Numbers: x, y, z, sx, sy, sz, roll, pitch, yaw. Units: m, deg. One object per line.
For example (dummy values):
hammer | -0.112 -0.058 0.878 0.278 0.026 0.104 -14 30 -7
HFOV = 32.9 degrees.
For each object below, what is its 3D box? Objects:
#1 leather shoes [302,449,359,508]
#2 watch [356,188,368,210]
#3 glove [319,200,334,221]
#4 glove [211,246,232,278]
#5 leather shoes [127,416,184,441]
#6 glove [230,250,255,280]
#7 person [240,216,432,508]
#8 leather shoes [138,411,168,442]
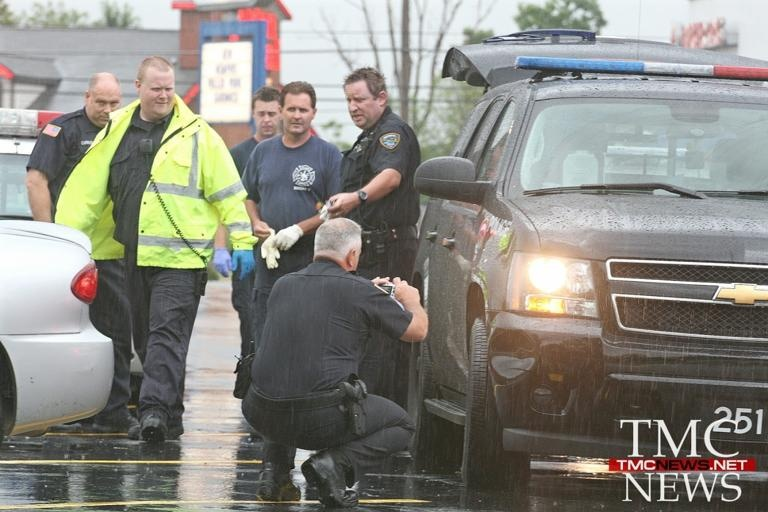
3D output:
leather shoes | -0.334 1.384 8.089 0.190 0.223 0.546 -3 -3 26
watch | -0.161 -0.440 9.929 0.074 0.112 0.110 -4 -2 -25
glove | -0.418 -0.328 9.869 0.036 0.138 0.141 3 -34 -34
glove | -1.262 0.045 10.181 0.078 0.164 0.221 -12 48 -4
leather shoes | -1.710 1.252 9.540 0.176 0.213 0.487 2 1 -41
glove | -1.081 0.046 10.022 0.189 0.236 0.088 14 38 9
person | -0.334 0.658 8.285 1.119 1.784 0.615 2 3 -5
leather shoes | -1.664 1.224 9.379 0.191 0.233 0.222 1 3 -12
